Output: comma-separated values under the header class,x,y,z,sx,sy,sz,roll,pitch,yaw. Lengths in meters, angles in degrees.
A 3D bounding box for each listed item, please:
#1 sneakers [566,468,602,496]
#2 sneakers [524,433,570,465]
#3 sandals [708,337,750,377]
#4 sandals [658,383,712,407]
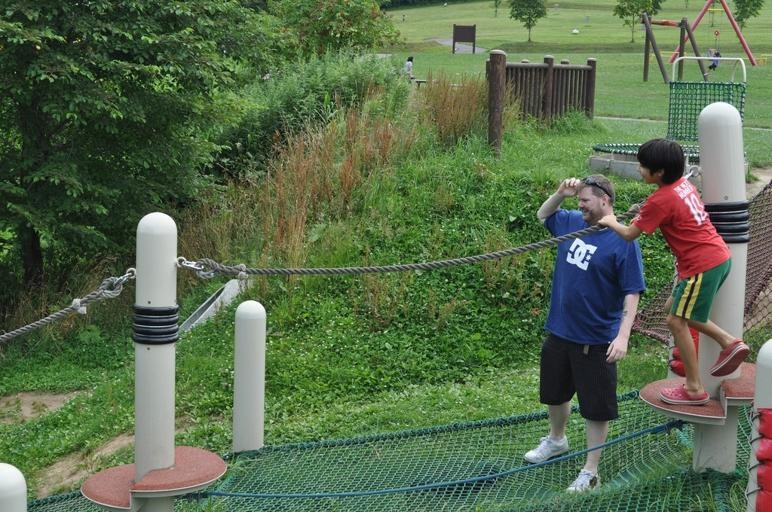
class,x,y,z,sx,sy,sz,roll,pitch,yaw
sneakers,2.158,2.504,11.201,0.453,0.209,0.170,-6,6,-32
sneakers,1.872,2.246,11.882,0.642,0.302,0.228,-18,9,-11
sandals,3.583,1.067,10.665,0.209,0.548,0.222,25,22,-17
sandals,3.132,1.456,10.693,0.467,0.215,0.220,2,-5,3
